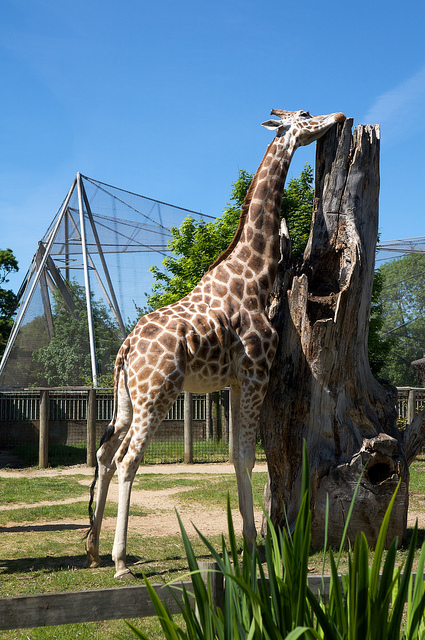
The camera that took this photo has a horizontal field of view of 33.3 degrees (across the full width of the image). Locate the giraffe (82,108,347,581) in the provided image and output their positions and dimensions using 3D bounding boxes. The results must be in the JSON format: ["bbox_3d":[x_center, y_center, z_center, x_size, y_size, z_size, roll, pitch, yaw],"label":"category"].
[{"bbox_3d":[-0.010,-0.078,6.140,2.007,4.133,0.929,5,-9,-34],"label":"giraffe"}]
